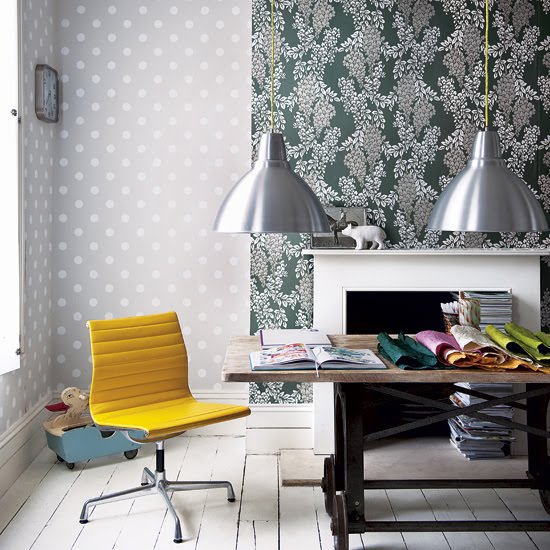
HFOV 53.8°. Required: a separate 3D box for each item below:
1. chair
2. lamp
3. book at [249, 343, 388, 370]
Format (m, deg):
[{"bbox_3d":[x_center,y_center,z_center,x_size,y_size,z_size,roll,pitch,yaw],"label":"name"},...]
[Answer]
[{"bbox_3d":[-0.669,0.566,2.812,0.939,1.115,0.887,0,0,-44],"label":"chair"},{"bbox_3d":[0.664,-0.884,2.952,1.524,1.315,0.544,0,1,-5],"label":"lamp"},{"bbox_3d":[0.160,0.314,2.130,0.512,0.051,0.337,0,8,-3],"label":"book"}]
